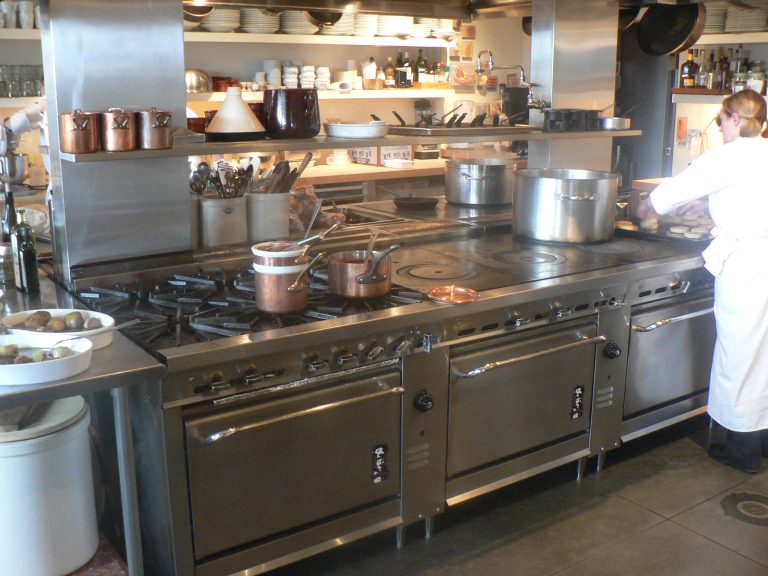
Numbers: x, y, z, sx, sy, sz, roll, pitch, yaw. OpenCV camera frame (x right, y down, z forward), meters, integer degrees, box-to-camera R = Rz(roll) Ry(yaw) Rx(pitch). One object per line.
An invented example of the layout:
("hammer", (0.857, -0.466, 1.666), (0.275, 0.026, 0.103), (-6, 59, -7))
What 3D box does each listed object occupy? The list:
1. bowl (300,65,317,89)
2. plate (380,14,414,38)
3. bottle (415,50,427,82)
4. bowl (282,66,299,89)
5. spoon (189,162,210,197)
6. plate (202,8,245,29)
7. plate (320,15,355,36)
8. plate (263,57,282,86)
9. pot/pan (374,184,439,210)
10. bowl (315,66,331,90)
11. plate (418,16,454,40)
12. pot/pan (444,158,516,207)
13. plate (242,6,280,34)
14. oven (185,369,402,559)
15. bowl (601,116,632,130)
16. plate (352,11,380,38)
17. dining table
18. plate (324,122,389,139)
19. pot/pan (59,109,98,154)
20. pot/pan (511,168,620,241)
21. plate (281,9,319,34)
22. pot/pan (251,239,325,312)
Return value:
("bowl", (-0.674, -1.912, 5.589), (0.141, 0.193, 0.178), (6, 18, 36))
("plate", (0.106, -2.429, 5.784), (0.270, 0.187, 0.381), (0, 14, 16))
("bottle", (0.372, -2.277, 6.324), (0.151, 0.333, 0.264), (-4, 14, 4))
("bowl", (-0.849, -1.896, 5.542), (0.157, 0.198, 0.243), (-4, 14, 3))
("spoon", (-0.840, -0.496, 2.814), (0.108, 0.044, 0.162), (1, 54, -7))
("plate", (-1.344, -2.185, 5.071), (0.247, 0.173, 0.367), (-1, 13, 12))
("plate", (-0.401, -2.368, 5.567), (0.106, 0.194, 0.357), (10, 19, 44))
("plate", (-1.003, -1.949, 5.610), (0.185, 0.252, 0.216), (-7, 14, -8))
("pot/pan", (0.089, -0.553, 3.811), (0.316, 0.076, 0.557), (-8, 17, -30))
("bowl", (-0.563, -1.929, 5.675), (0.121, 0.217, 0.220), (-4, 14, 5))
("plate", (0.493, -2.529, 6.051), (0.448, 0.175, 0.077), (-11, 16, -28))
("pot/pan", (0.572, -0.636, 3.724), (0.369, 0.194, 0.359), (-1, 17, -2))
("plate", (-1.036, -2.250, 5.253), (0.353, 0.179, 0.190), (-8, 14, -17))
("oven", (-0.436, 0.646, 2.378), (0.958, 0.525, 0.565), (-3, -2, -43))
("bowl", (1.289, -0.922, 3.479), (0.125, 0.037, 0.121), (-1, 11, 0))
("plate", (-0.133, -2.406, 5.677), (0.232, 0.194, 0.159), (-16, 18, -40))
("dining table", (-0.983, 0.249, 2.023), (0.506, 0.410, 0.934), (-11, 21, -36))
("plate", (-0.138, -0.695, 2.724), (0.294, 0.082, 0.185), (-2, 13, 7))
("pot/pan", (-1.058, -0.531, 2.165), (0.170, 0.158, 0.160), (-2, 7, -32))
("pot/pan", (0.865, -0.397, 3.078), (0.464, 0.249, 0.473), (-5, 14, -20))
("plate", (-0.735, -2.298, 5.386), (0.325, 0.183, 0.165), (-7, 14, -11))
("pot/pan", (-0.298, -0.045, 2.221), (0.315, 0.236, 0.187), (14, 21, 39))
